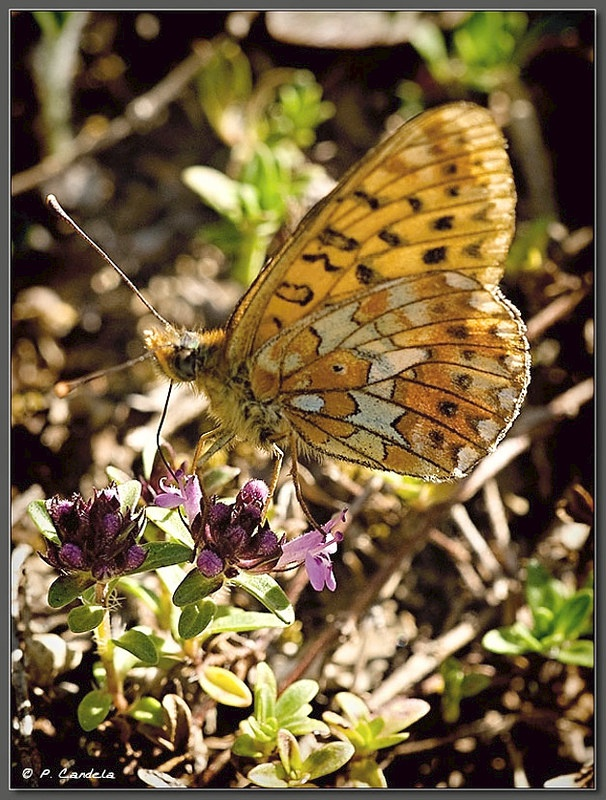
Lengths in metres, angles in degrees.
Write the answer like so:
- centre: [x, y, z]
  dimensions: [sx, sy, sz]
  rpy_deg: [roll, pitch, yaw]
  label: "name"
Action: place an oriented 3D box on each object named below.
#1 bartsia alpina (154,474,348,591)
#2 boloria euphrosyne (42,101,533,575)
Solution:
- centre: [-0.214, 0.552, 3.440]
  dimensions: [0.737, 0.580, 0.459]
  rpy_deg: [2, 54, 2]
  label: "bartsia alpina"
- centre: [0.253, -0.279, 3.389]
  dimensions: [1.286, 1.479, 0.776]
  rpy_deg: [-15, 56, -11]
  label: "boloria euphrosyne"
